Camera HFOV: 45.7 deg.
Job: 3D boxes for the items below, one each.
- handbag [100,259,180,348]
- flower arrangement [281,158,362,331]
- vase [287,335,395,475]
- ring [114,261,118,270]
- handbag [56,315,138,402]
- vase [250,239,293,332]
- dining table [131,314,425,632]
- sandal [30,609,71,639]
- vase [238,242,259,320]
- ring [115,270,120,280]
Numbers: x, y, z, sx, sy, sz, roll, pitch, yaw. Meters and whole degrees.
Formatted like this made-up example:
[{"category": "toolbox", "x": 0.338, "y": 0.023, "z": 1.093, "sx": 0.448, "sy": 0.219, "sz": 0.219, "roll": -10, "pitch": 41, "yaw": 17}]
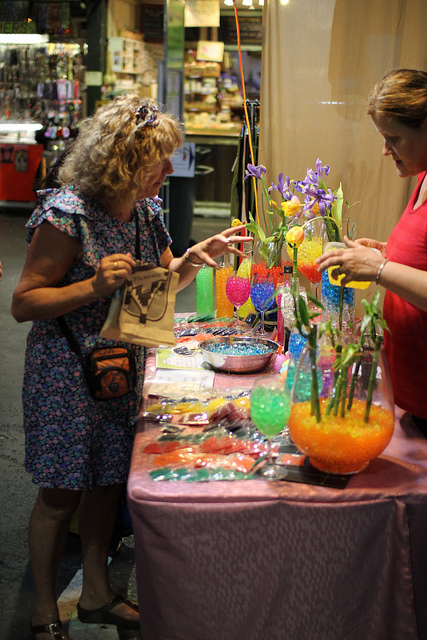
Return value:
[{"category": "handbag", "x": -0.194, "y": -0.040, "z": 1.271, "sx": 0.102, "sy": 0.231, "sz": 0.206, "roll": 19, "pitch": 4, "yaw": 44}, {"category": "flower arrangement", "x": 0.330, "y": -0.210, "z": 1.531, "sx": 0.219, "sy": 0.463, "sz": 0.168, "roll": 9, "pitch": 34, "yaw": 25}, {"category": "vase", "x": 0.238, "y": 0.149, "z": 0.945, "sx": 0.192, "sy": 0.246, "sz": 0.198, "roll": 3, "pitch": 9, "yaw": 24}, {"category": "ring", "x": -0.234, "y": -0.130, "z": 1.203, "sx": 0.012, "sy": 0.010, "sz": 0.012, "roll": -5, "pitch": -20, "yaw": -2}, {"category": "handbag", "x": -0.305, "y": 0.099, "z": 1.420, "sx": 0.140, "sy": 0.215, "sz": 0.232, "roll": -9, "pitch": 18, "yaw": -23}, {"category": "vase", "x": 0.216, "y": -0.161, "z": 1.925, "sx": 0.161, "sy": 0.369, "sz": 0.159, "roll": -2, "pitch": 10, "yaw": -35}, {"category": "dining table", "x": 0.128, "y": 0.347, "z": 1.144, "sx": 0.595, "sy": 0.324, "sz": 0.705, "roll": -2, "pitch": 20, "yaw": -7}, {"category": "sandal", "x": -0.490, "y": 0.870, "z": 1.480, "sx": 0.136, "sy": 0.054, "sz": 0.048, "roll": 15, "pitch": 2, "yaw": 27}, {"category": "vase", "x": 0.155, "y": -0.178, "z": 2.079, "sx": 0.090, "sy": 0.295, "sz": 0.087, "roll": -8, "pitch": 11, "yaw": -37}, {"category": "ring", "x": -0.230, "y": -0.104, "z": 1.202, "sx": 0.011, "sy": 0.015, "sz": 0.004, "roll": -3, "pitch": 19, "yaw": -11}]
